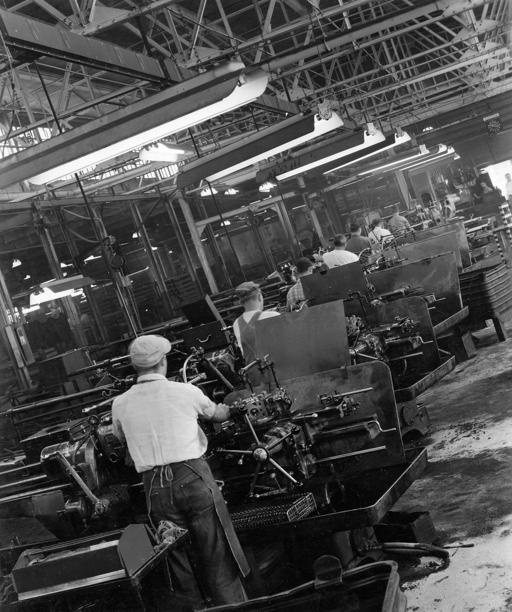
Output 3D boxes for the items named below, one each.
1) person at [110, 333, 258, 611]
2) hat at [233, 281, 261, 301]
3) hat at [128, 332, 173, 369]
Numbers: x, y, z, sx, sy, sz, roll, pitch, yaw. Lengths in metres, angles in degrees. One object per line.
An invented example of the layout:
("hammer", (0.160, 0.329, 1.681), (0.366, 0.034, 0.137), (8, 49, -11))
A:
("person", (-0.417, 0.875, 3.618), (0.523, 1.359, 0.696), (-9, 12, -21))
("hat", (-0.069, -0.130, 5.724), (0.165, 0.093, 0.188), (-10, 2, 4))
("hat", (-0.596, 0.251, 3.791), (0.185, 0.109, 0.216), (14, 43, 21))
